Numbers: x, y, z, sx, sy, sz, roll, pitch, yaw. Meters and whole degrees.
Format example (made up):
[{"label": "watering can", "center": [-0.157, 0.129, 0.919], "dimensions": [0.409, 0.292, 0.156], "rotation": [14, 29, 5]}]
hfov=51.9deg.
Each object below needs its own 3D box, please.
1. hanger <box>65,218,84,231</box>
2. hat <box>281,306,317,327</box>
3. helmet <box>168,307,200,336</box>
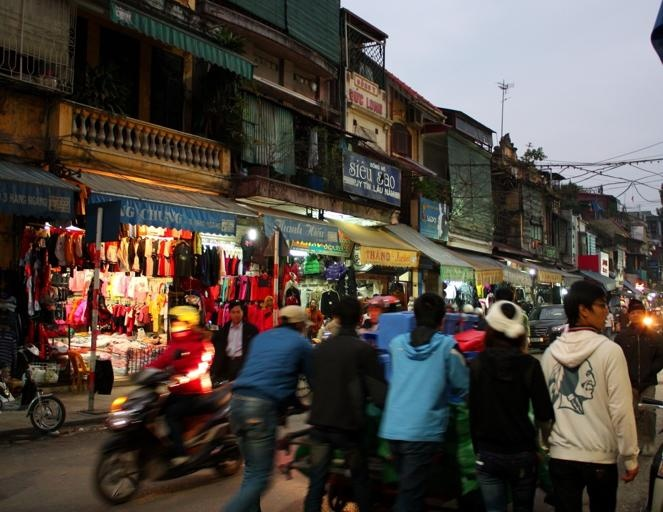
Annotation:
[{"label": "hanger", "center": [-4.920, -0.599, 13.064], "dimensions": [0.262, 0.192, 0.267], "rotation": [-5, 10, -44]}, {"label": "hat", "center": [-0.328, 0.585, 6.779], "dimensions": [0.325, 0.126, 0.213], "rotation": [15, 3, -38]}, {"label": "helmet", "center": [-1.724, 0.745, 8.005], "dimensions": [0.302, 0.341, 0.334], "rotation": [0, -2, 0]}]
